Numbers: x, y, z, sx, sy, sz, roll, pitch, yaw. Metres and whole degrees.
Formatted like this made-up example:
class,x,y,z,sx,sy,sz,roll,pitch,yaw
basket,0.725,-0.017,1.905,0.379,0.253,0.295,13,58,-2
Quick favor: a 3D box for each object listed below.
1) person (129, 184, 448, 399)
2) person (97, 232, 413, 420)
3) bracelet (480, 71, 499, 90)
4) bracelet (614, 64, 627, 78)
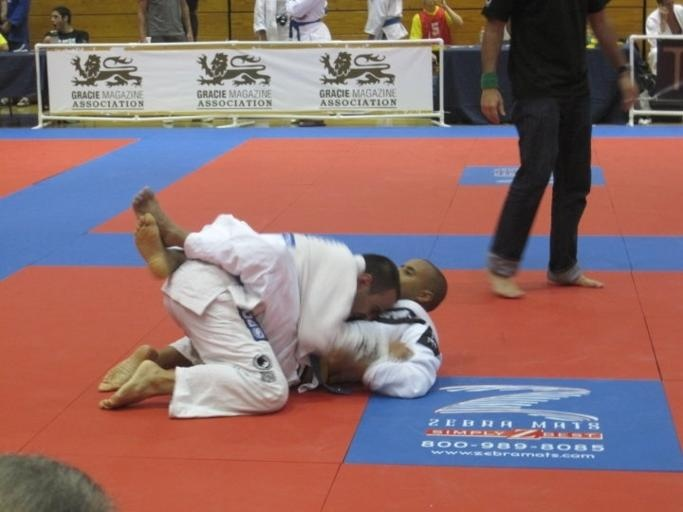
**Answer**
class,x,y,z,sx,sy,sz,roll,pitch,yaw
person,-0.344,0.204,3.317,1.533,0.839,0.811,-7,13,-2
person,-0.382,0.252,3.322,1.307,0.732,0.734,0,13,-28
bracelet,0.939,-1.143,4.563,0.119,0.120,0.137,-6,6,-38
bracelet,1.864,-1.242,4.665,0.095,0.063,0.100,-13,4,-17
